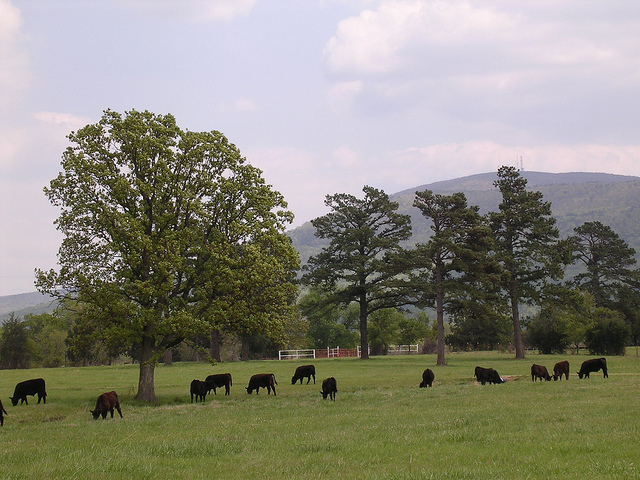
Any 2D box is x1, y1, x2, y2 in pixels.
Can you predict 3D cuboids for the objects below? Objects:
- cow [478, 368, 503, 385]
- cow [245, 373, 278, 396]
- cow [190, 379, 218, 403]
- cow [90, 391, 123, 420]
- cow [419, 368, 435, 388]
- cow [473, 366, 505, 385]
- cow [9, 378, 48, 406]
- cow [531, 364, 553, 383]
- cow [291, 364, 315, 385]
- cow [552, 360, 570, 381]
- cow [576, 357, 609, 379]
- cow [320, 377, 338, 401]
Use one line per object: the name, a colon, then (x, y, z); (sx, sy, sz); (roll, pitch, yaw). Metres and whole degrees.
cow: (15.977, 12.807, 96.878); (2.028, 1.387, 1.399); (-3, -12, 12)
cow: (-5.285, 13.232, 94.895); (2.733, 2.004, 2.593); (-2, -12, 7)
cow: (-10.544, 13.546, 92.378); (1.727, 2.074, 2.943); (-2, -12, 7)
cow: (-17.521, 13.717, 85.675); (1.748, 2.283, 2.387); (-10, -15, 39)
cow: (9.977, 12.923, 96.679); (1.307, 1.806, 2.671); (-1, -12, 5)
cow: (15.905, 12.744, 97.120); (2.844, 1.731, 2.109); (-7, -13, 28)
cow: (-25.393, 13.306, 90.561); (2.917, 2.459, 2.147); (4, -12, -19)
cow: (20.711, 12.486, 96.451); (1.757, 1.671, 2.835); (-3, -12, 12)
cow: (-1.354, 13.296, 101.612); (2.164, 1.981, 3.177); (-6, -13, 24)
cow: (22.569, 12.249, 96.680); (1.455, 2.014, 3.043); (-3, -12, 12)
cow: (25.933, 12.192, 97.589); (2.487, 2.003, 4.015); (-6, -13, 25)
cow: (0.817, 13.053, 90.645); (1.227, 1.897, 1.239); (-3, -12, 14)
